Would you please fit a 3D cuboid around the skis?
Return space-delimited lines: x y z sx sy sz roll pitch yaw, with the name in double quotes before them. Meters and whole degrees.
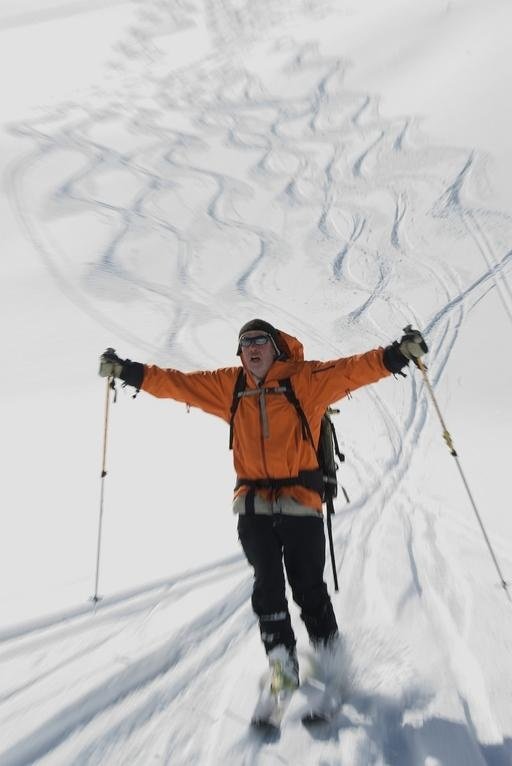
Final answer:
"skis" 0.255 1.855 4.146 0.228 0.685 0.300 10 57 17

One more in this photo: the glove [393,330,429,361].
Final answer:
"glove" 1.127 -0.279 4.928 0.192 0.081 0.218 -20 71 28

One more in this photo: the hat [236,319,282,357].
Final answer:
"hat" 0.032 -0.387 5.241 0.300 0.293 0.240 -2 67 3
